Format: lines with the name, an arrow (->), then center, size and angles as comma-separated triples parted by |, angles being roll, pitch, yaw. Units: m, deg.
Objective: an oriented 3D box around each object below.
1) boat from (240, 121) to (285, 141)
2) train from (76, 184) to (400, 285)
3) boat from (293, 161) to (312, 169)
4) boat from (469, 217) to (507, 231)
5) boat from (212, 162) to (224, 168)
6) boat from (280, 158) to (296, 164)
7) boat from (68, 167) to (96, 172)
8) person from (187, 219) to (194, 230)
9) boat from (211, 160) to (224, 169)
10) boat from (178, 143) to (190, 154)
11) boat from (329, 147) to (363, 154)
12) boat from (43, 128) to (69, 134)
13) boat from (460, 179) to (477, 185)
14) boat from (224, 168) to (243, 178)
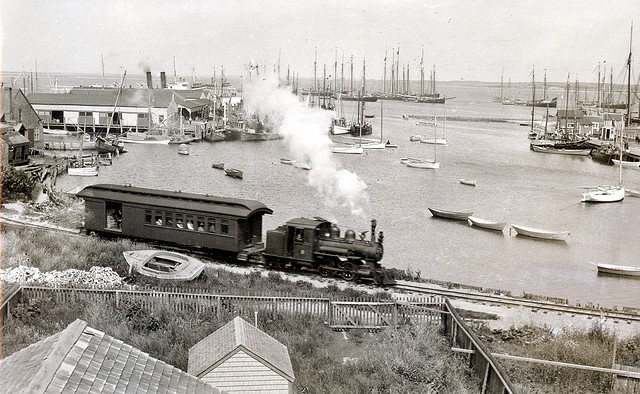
boat -> -11.029, -11.890, 136.115 | 8.891, 3.210, 3.886 | -14, 20, -42
train -> -7.501, 2.632, 57.751 | 27.393, 5.417, 5.054 | 7, 17, 23
boat -> -2.379, -4.530, 105.484 | 1.707, 0.554, 1.348 | 5, 9, 18
boat -> 17.500, 2.807, 78.144 | 3.695, 0.885, 1.221 | 9, 13, 44
boat -> -14.119, -4.432, 103.991 | 1.317, 0.460, 1.594 | -1, 15, 1
boat -> -4.667, -5.206, 109.166 | 2.118, 0.440, 4.336 | -3, 15, -8
boat -> -27.939, -3.219, 88.563 | 3.824, 0.716, 0.878 | -1, 2, -21
person -> -9.817, 2.227, 56.563 | 0.284, 0.920, 0.379 | -19, -22, 3
boat -> -14.558, -4.407, 105.072 | 0.881, 0.646, 3.615 | -20, 18, -20
boat -> -20.752, -7.245, 113.430 | 0.984, 0.878, 2.873 | -3, 6, -20
boat -> 3.935, -7.548, 121.830 | 5.959, 1.094, 1.844 | 1, 7, 15
boat -> -40.736, -10.107, 115.512 | 3.466, 0.933, 2.126 | -4, 15, -12
boat -> 19.789, -2.055, 100.350 | 2.082, 0.532, 1.752 | 6, 16, 24
boat -> -11.324, -3.111, 98.053 | 1.858, 0.769, 3.158 | -6, 16, -19
